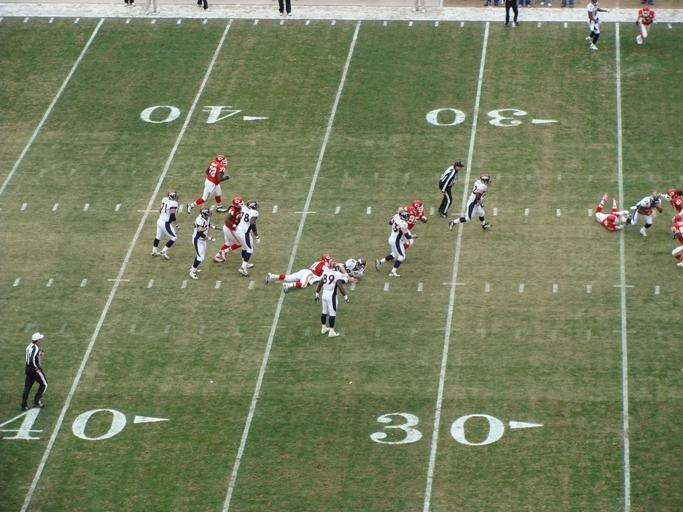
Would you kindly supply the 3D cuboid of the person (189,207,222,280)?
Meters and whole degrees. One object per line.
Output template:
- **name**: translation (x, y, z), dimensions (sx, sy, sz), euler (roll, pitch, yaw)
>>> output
- **person**: translation (-3.431, -0.223, 31.975), dimensions (1.003, 1.966, 0.847), euler (4, 55, -13)

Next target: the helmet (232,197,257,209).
- **helmet**: translation (-2.436, -1.251, 31.354), dimensions (0.676, 0.173, 0.294), euler (4, 21, 4)

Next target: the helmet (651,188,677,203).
- **helmet**: translation (8.173, -1.489, 32.411), dimensions (0.732, 0.198, 0.437), euler (1, 4, 10)

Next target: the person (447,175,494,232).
- **person**: translation (3.340, -1.408, 32.927), dimensions (1.003, 1.430, 1.369), euler (4, 29, 7)

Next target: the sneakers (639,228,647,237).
- **sneakers**: translation (7.638, -0.576, 32.524), dimensions (0.174, 0.173, 0.236), euler (5, 27, 8)

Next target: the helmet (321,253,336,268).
- **helmet**: translation (-0.333, 0.135, 30.464), dimensions (0.240, 0.237, 0.280), euler (-32, 39, -30)

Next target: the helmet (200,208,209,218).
- **helmet**: translation (-3.284, -1.009, 30.889), dimensions (0.251, 0.225, 0.195), euler (2, 61, -8)

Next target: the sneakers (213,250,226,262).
- **sneakers**: translation (-3.052, 0.036, 32.019), dimensions (0.335, 0.253, 0.252), euler (-22, 49, -34)

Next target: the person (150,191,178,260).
- **person**: translation (-4.392, -0.753, 31.912), dimensions (0.507, 1.742, 0.771), euler (21, 37, 29)

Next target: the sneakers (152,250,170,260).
- **sneakers**: translation (-4.529, -0.008, 32.131), dimensions (0.610, 0.186, 0.162), euler (6, 19, -5)

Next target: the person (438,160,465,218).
- **person**: translation (2.867, -1.658, 33.616), dimensions (0.951, 1.618, 0.811), euler (4, 50, -2)

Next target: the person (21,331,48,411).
- **person**: translation (-6.847, 2.499, 28.294), dimensions (0.612, 1.633, 0.970), euler (-5, 31, -9)

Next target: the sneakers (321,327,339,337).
- **sneakers**: translation (-0.310, 1.767, 29.837), dimensions (0.569, 0.190, 0.147), euler (-4, 44, -13)
